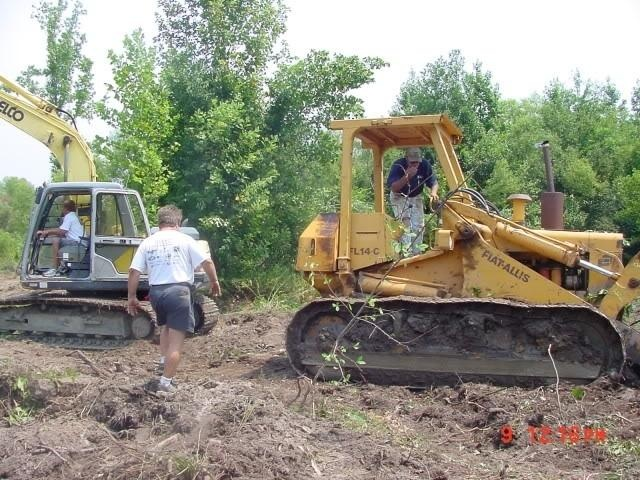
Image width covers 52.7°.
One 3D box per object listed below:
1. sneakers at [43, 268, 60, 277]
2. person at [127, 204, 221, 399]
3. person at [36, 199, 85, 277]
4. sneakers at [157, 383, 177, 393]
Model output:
[{"bbox_3d":[-4.428,0.528,10.633,0.282,0.095,0.197,6,13,22],"label":"sneakers"},{"bbox_3d":[-1.681,0.776,7.713,0.895,1.700,1.015,-9,16,-37],"label":"person"},{"bbox_3d":[-4.301,0.004,10.877,0.826,1.328,0.596,-6,-14,0],"label":"person"},{"bbox_3d":[-1.716,1.666,7.258,0.191,0.076,0.223,-2,13,-12],"label":"sneakers"}]
